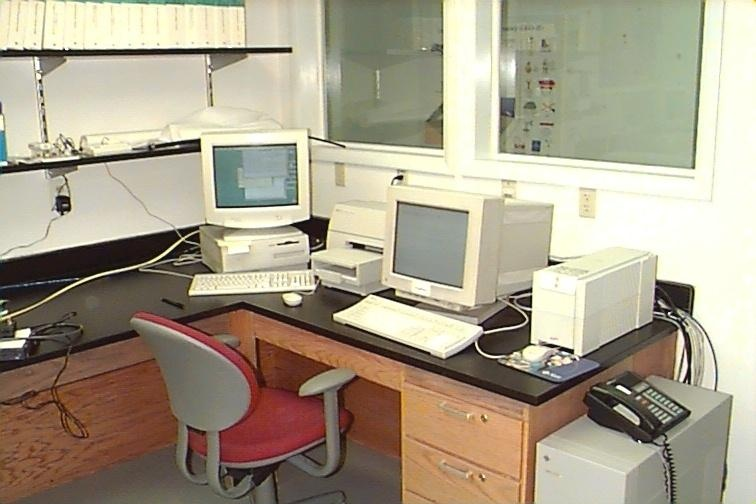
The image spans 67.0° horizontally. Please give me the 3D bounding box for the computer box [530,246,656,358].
[{"bbox_3d":[0.889,0.179,2.345,0.558,0.290,0.268,-16,19,-41],"label":"computer box"}]

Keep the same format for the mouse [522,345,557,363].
[{"bbox_3d":[0.609,0.375,2.154,0.089,0.020,0.065,-16,22,-40],"label":"mouse"}]

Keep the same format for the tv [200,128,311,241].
[{"bbox_3d":[-0.571,-0.346,3.158,0.734,0.625,0.485,-1,9,-8],"label":"tv"}]

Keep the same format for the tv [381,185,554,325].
[{"bbox_3d":[0.421,-0.076,2.682,0.643,0.551,0.668,12,24,41],"label":"tv"}]

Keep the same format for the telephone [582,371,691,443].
[{"bbox_3d":[0.971,0.566,2.128,0.306,0.149,0.236,-14,21,-35],"label":"telephone"}]

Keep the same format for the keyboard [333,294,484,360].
[{"bbox_3d":[0.131,0.297,2.349,0.481,0.049,0.201,14,39,38],"label":"keyboard"}]

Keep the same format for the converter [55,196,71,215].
[{"bbox_3d":[-1.641,-0.251,2.972,0.076,0.096,0.101,2,2,-34],"label":"converter"}]

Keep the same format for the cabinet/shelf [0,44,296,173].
[{"bbox_3d":[-1.248,-0.794,3.035,1.435,0.558,0.426,-13,21,-35],"label":"cabinet/shelf"}]

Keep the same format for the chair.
[{"bbox_3d":[-0.598,0.682,2.537,0.729,0.851,0.628,19,32,38],"label":"chair"}]
